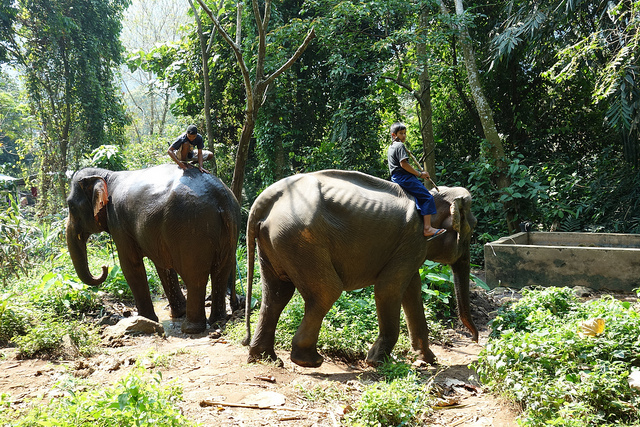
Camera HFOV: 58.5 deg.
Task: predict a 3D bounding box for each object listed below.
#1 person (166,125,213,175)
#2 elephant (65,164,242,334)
[{"bbox_3d":[-2.248,-1.099,9.911,0.645,0.998,0.684,19,34,24],"label":"person"},{"bbox_3d":[-3.098,0.556,10.380,3.617,2.910,2.375,3,10,24],"label":"elephant"}]
